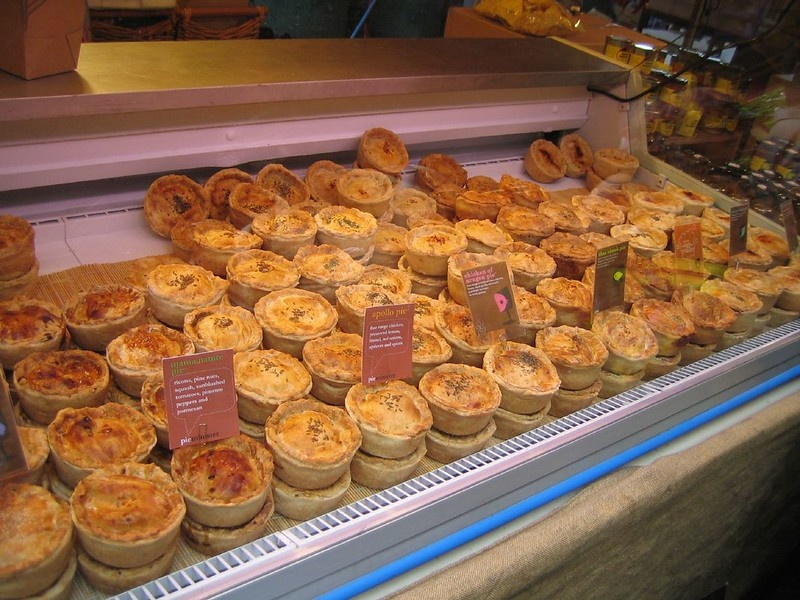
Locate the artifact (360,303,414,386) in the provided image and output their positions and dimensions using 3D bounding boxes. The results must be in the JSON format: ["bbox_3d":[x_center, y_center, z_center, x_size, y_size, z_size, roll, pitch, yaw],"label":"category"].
[{"bbox_3d":[-0.055,0.184,2.332,0.235,0.349,0.128,-6,36,-17],"label":"artifact"}]
